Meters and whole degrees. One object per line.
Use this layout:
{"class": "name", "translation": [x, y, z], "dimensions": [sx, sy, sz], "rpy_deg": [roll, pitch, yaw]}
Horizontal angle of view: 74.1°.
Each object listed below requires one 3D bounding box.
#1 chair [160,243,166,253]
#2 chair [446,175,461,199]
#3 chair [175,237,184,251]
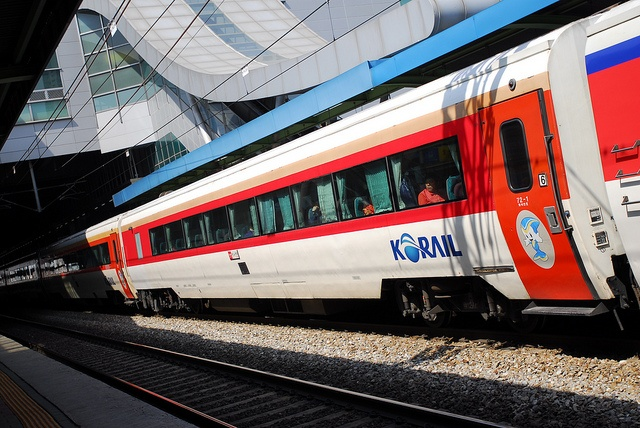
{"class": "chair", "translation": [-5.764, 1.281, 15.508], "dimensions": [0.339, 0.448, 0.303], "rpy_deg": [0, 1, -21]}
{"class": "chair", "translation": [2.304, -0.461, 7.346], "dimensions": [0.244, 0.311, 0.338], "rpy_deg": [0, 12, 12]}
{"class": "chair", "translation": [-4.848, 1.032, 14.553], "dimensions": [0.249, 0.462, 0.424], "rpy_deg": [3, -5, -39]}
